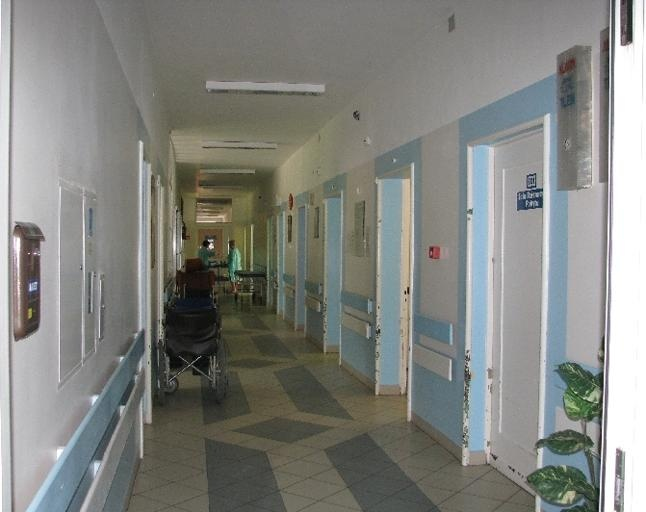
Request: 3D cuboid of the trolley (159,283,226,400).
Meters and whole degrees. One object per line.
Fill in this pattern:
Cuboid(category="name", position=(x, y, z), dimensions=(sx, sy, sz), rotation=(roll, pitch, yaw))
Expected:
Cuboid(category="trolley", position=(-1.541, 1.044, 5.924), dimensions=(0.746, 1.270, 1.317), rotation=(1, 9, -8))

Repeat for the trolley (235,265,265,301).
Cuboid(category="trolley", position=(-2.579, 0.906, 16.253), dimensions=(0.862, 0.928, 2.649), rotation=(6, 0, -20))
